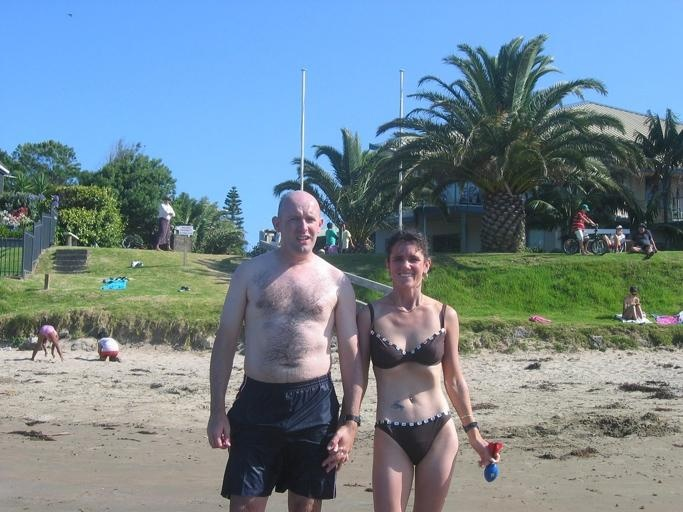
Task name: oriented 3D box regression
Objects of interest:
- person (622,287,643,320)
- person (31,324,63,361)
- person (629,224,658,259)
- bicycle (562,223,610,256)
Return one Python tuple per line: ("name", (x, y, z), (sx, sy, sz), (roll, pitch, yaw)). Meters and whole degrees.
("person", (7.810, 1.184, 25.967), (0.497, 1.048, 0.599), (8, 24, 36))
("person", (-6.417, 1.876, 21.427), (0.965, 0.662, 0.353), (7, 10, 29))
("person", (9.629, -0.545, 30.826), (0.715, 1.147, 1.403), (-7, 16, 5))
("bicycle", (8.080, -0.586, 31.712), (1.572, 1.259, 0.876), (-3, 3, -3))
